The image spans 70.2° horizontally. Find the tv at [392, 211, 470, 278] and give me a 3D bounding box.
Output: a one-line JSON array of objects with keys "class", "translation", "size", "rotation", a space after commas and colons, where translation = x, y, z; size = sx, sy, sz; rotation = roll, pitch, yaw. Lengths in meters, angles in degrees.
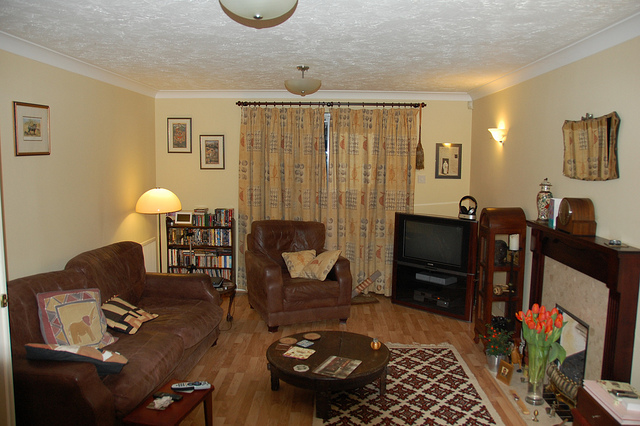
[{"class": "tv", "translation": [1.742, 0.415, 6.632], "size": [1.235, 0.855, 0.692], "rotation": [8, 11, 37]}]

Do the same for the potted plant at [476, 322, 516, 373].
[{"class": "potted plant", "translation": [1.951, 1.503, 5.109], "size": [0.408, 0.524, 0.453], "rotation": [2, -5, -1]}]

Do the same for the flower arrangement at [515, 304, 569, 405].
[{"class": "flower arrangement", "translation": [2.161, 1.360, 4.487], "size": [0.457, 1.010, 0.320], "rotation": [8, 17, 30]}]

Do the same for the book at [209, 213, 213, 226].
[{"class": "book", "translation": [-1.676, 0.100, 7.035], "size": [0.039, 0.133, 0.097], "rotation": [3, 4, -6]}]

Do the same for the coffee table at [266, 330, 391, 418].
[{"class": "coffee table", "translation": [0.095, 1.618, 4.706], "size": [1.226, 0.454, 0.872], "rotation": [-4, 15, -16]}]

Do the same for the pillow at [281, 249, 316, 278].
[{"class": "pillow", "translation": [-0.271, 0.671, 6.382], "size": [0.460, 0.155, 0.482], "rotation": [-13, 47, -21]}]

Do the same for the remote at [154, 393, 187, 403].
[{"class": "remote", "translation": [-1.271, 1.535, 3.833], "size": [0.165, 0.034, 0.092], "rotation": [7, 0, -16]}]

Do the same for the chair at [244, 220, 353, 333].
[{"class": "chair", "translation": [-0.329, 0.854, 6.416], "size": [1.162, 1.326, 1.286], "rotation": [0, 3, -24]}]

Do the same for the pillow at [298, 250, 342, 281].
[{"class": "pillow", "translation": [-0.013, 0.679, 6.179], "size": [0.484, 0.358, 0.336], "rotation": [7, 16, 28]}]

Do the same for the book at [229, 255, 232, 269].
[{"class": "book", "translation": [-1.378, 0.751, 7.044], "size": [0.048, 0.206, 0.028], "rotation": [-7, 16, -24]}]

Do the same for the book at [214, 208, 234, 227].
[{"class": "book", "translation": [-1.485, 0.065, 7.004], "size": [0.237, 0.334, 0.345], "rotation": [0, 3, 4]}]

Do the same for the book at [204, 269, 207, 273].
[{"class": "book", "translation": [-1.779, 0.888, 7.072], "size": [0.063, 0.061, 0.033], "rotation": [2, -16, -9]}]

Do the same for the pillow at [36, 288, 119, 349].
[{"class": "pillow", "translation": [-2.322, 1.003, 4.366], "size": [0.627, 0.557, 0.443], "rotation": [-10, 17, -33]}]

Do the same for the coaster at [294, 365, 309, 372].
[{"class": "coaster", "translation": [-0.183, 1.489, 4.404], "size": [0.128, 0.006, 0.092], "rotation": [-1, 14, -3]}]

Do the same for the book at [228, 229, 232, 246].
[{"class": "book", "translation": [-1.388, 0.368, 6.996], "size": [0.057, 0.245, 0.073], "rotation": [-3, 15, -10]}]

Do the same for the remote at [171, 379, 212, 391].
[{"class": "remote", "translation": [-1.128, 1.520, 3.980], "size": [0.271, 0.068, 0.133], "rotation": [2, -3, -10]}]
